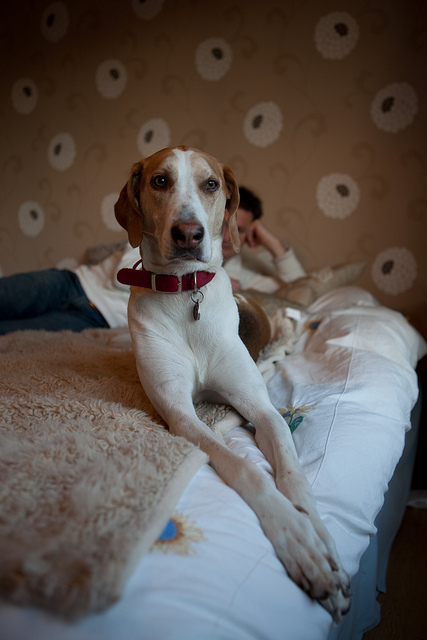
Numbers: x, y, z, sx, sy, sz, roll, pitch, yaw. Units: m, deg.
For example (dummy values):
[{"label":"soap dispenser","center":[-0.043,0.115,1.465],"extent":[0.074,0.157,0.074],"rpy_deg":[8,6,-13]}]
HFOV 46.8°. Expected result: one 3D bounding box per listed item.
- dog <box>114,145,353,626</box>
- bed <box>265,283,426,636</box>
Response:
[{"label":"dog","center":[-0.082,0.021,1.232],"extent":[0.305,0.637,1.309],"rpy_deg":[-8,15,-19]},{"label":"bed","center":[0.360,0.281,1.304],"extent":[0.502,0.225,0.787],"rpy_deg":[7,43,26]}]
